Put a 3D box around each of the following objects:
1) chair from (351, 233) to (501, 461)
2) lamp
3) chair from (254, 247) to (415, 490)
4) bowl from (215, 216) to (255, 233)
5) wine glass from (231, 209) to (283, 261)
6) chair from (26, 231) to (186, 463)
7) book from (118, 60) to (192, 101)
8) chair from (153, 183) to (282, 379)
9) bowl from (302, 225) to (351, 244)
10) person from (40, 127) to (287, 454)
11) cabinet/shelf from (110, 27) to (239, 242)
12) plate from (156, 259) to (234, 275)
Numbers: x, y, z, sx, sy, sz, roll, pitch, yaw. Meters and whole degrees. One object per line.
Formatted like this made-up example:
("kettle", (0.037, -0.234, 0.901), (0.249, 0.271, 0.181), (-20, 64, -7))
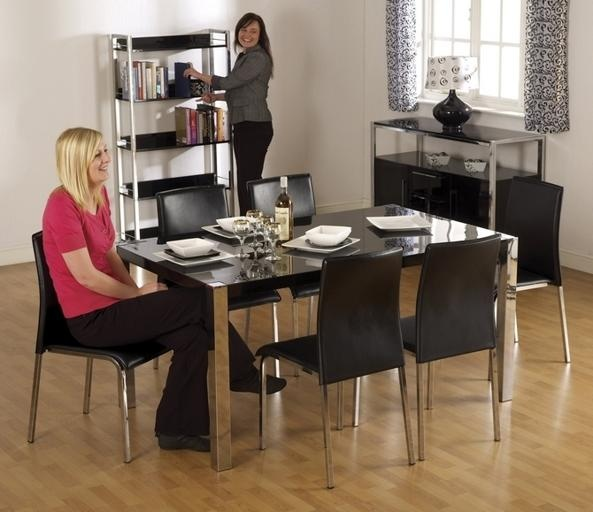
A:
("chair", (0.564, 0.340, 2.555), (0.460, 0.862, 0.519), (-6, 8, -32))
("lamp", (1.340, -1.396, 5.158), (0.431, 0.618, 0.434), (-3, 15, 14))
("chair", (0.157, 0.386, 2.313), (0.566, 0.834, 0.534), (7, 11, 39))
("bowl", (-0.303, -0.157, 2.824), (0.117, 0.036, 0.116), (-3, 7, 0))
("wine glass", (-0.170, -0.086, 2.590), (0.198, 0.190, 0.246), (1, 7, 6))
("chair", (-0.804, 0.348, 2.540), (0.522, 0.825, 0.507), (6, 9, 23))
("book", (-1.287, -1.584, 5.426), (0.653, 0.358, 0.292), (-10, 15, -40))
("chair", (-0.482, 0.042, 3.106), (0.444, 0.801, 0.501), (-9, 5, -8))
("bowl", (0.124, -0.086, 2.580), (0.110, 0.043, 0.125), (-10, 9, -40))
("person", (-0.631, 0.166, 2.339), (0.711, 1.308, 0.375), (8, 14, 36))
("cabinet/shelf", (-1.167, -1.371, 5.610), (0.805, 1.522, 0.385), (-5, 18, -18))
("plate", (-0.389, 0.038, 2.347), (0.270, 0.020, 0.180), (-3, 12, -12))
